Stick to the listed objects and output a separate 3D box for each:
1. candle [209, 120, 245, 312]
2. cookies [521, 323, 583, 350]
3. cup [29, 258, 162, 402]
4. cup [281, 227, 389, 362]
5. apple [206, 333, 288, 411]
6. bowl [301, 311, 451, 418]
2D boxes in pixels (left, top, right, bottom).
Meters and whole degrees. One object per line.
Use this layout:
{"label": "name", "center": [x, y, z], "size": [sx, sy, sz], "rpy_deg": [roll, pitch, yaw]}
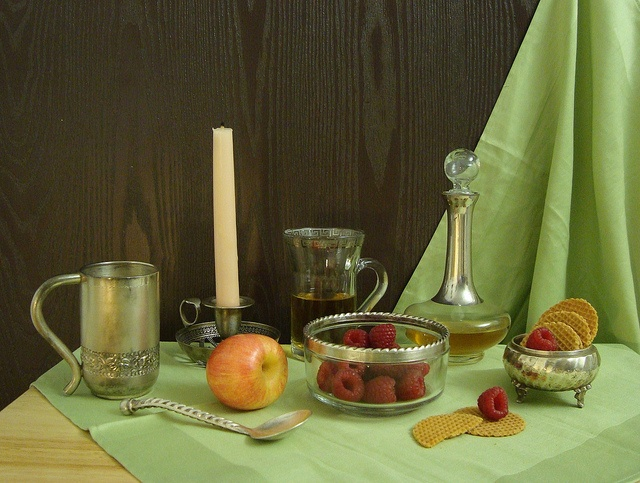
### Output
{"label": "candle", "center": [-0.163, -0.033, 1.064], "size": [0.053, 0.316, 0.128], "rpy_deg": [-6, 19, -10]}
{"label": "cookies", "center": [0.367, 0.150, 0.978], "size": [0.053, 0.018, 0.053], "rpy_deg": [-15, 34, 11]}
{"label": "cup", "center": [-0.353, 0.152, 0.989], "size": [0.190, 0.199, 0.115], "rpy_deg": [-1, 7, -22]}
{"label": "cup", "center": [0.038, 0.105, 1.154], "size": [0.192, 0.228, 0.133], "rpy_deg": [0, 1, -4]}
{"label": "apple", "center": [-0.093, 0.225, 0.978], "size": [0.130, 0.136, 0.134], "rpy_deg": [2, 55, -1]}
{"label": "bowl", "center": [0.100, 0.193, 1.007], "size": [0.217, 0.117, 0.228], "rpy_deg": [0, 7, 0]}
